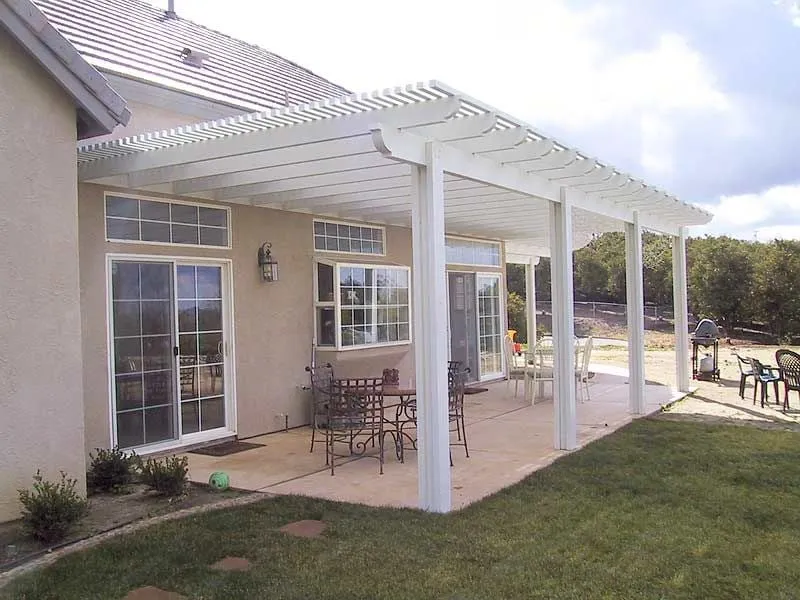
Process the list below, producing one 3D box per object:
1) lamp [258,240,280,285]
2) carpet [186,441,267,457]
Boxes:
[{"bbox_3d":[-1.867,-0.539,9.562,0.162,0.567,0.359,1,4,28],"label":"lamp"},{"bbox_3d":[-2.264,1.936,8.719,0.603,0.050,0.879,1,4,36],"label":"carpet"}]
